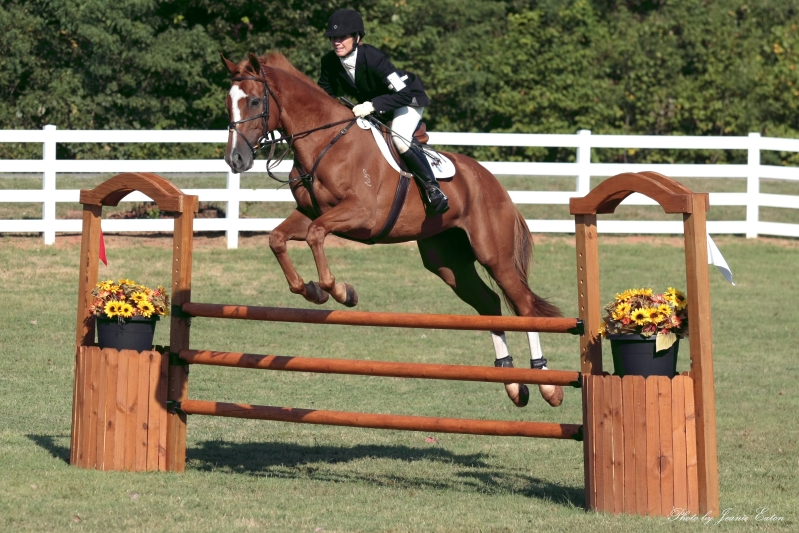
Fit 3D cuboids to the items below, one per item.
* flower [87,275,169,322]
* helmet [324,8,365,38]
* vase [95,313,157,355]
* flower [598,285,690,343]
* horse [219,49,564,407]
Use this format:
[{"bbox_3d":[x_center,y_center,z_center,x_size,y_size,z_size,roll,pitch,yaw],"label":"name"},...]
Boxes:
[{"bbox_3d":[-5.158,0.641,35.245,0.987,0.499,0.959,5,4,14],"label":"flower"},{"bbox_3d":[-1.066,-4.705,35.294,0.487,0.400,0.653,4,7,45],"label":"helmet"},{"bbox_3d":[-5.246,1.281,35.209,0.775,0.487,0.786,-2,-5,27],"label":"vase"},{"bbox_3d":[4.632,0.887,34.956,1.232,1.052,1.759,0,-1,2],"label":"flower"},{"bbox_3d":[-0.045,-0.642,36.051,8.007,5.767,1.929,14,-24,-33],"label":"horse"}]
